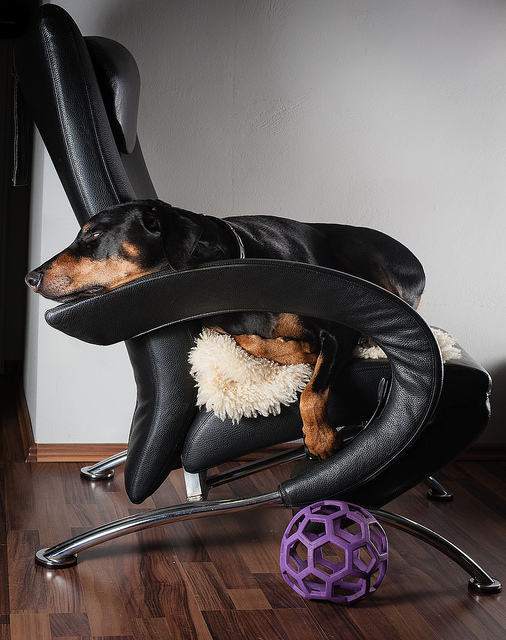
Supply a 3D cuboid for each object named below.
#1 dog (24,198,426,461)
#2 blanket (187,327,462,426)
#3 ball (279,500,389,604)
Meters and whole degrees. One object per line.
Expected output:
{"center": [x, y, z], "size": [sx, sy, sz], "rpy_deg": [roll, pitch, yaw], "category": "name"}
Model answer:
{"center": [0.042, -0.055, 1.142], "size": [0.433, 0.409, 0.766], "rpy_deg": [13, 28, 20], "category": "dog"}
{"center": [0.055, 0.033, 1.059], "size": [0.326, 0.146, 0.460], "rpy_deg": [13, 15, 42], "category": "blanket"}
{"center": [0.144, 0.403, 1.078], "size": [0.201, 0.170, 0.185], "rpy_deg": [2, 17, -1], "category": "ball"}
